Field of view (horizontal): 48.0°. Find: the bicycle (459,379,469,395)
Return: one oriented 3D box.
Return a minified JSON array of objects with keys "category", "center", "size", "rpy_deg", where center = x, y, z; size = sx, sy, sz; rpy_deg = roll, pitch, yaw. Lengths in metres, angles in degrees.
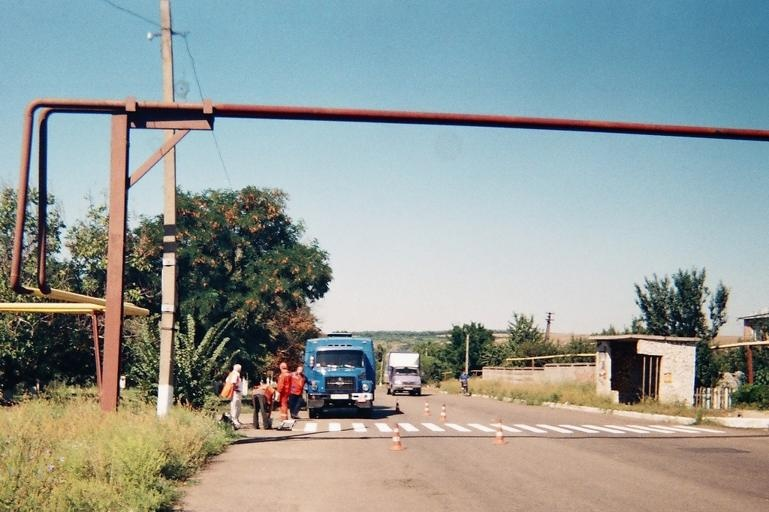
[{"category":"bicycle","center":[6.107,9.885,65.480],"size":[0.683,0.999,1.473],"rpy_deg":[0,-1,1]}]

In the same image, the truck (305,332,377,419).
[{"category":"truck","center":[-2.012,5.570,40.289],"size":[2.059,2.805,4.307],"rpy_deg":[0,-12,-3]}]

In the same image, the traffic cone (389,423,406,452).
[{"category":"traffic cone","center":[0.554,6.157,29.224],"size":[0.709,0.945,0.796],"rpy_deg":[0,-11,-4]}]

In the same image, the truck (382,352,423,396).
[{"category":"truck","center":[1.404,9.279,66.672],"size":[1.600,2.340,4.190],"rpy_deg":[1,-13,-3]}]
